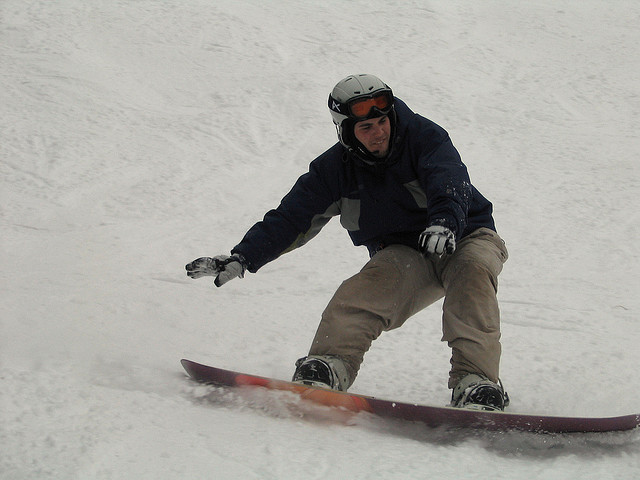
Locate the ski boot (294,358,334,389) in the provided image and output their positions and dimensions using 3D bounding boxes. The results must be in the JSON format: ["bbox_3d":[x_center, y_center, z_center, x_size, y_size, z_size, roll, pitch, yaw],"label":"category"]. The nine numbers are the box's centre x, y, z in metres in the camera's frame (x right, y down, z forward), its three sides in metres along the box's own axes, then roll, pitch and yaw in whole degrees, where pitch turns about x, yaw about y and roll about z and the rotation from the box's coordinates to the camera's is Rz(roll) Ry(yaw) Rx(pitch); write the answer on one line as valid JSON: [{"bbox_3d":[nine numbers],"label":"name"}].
[{"bbox_3d":[-0.026,0.821,6.098,0.210,0.177,0.197,3,2,9],"label":"ski boot"}]

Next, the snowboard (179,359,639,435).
[{"bbox_3d":[0.533,1.019,6.226,3.251,0.282,0.205,3,47,10],"label":"snowboard"}]

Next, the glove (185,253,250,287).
[{"bbox_3d":[-0.659,0.198,6.410,0.355,0.203,0.125,1,47,-47],"label":"glove"}]
